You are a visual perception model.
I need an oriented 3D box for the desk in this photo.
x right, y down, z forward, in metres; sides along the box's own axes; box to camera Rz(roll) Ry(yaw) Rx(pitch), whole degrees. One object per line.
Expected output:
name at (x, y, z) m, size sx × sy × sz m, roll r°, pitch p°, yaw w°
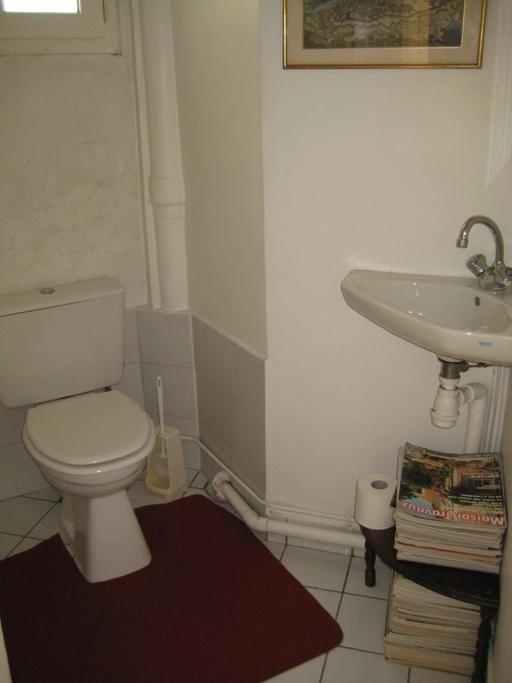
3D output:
desk at (0.373, 0.571, 1.262) m, size 0.211 × 0.280 × 0.325 m, roll 5°, pitch 20°, yaw 9°
